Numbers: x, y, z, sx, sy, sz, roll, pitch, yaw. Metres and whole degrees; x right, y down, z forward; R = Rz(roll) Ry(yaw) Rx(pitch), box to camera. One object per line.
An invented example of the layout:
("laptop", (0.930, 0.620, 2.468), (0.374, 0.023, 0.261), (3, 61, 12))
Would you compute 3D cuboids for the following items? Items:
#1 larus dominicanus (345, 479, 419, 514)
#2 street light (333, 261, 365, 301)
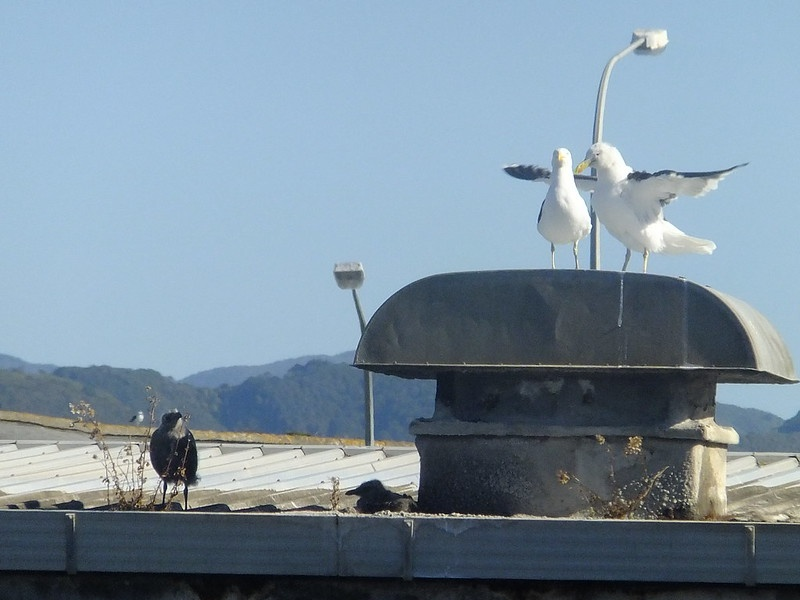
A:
("larus dominicanus", (-0.197, 2.727, 36.743), (0.431, 0.234, 0.580), (-5, 6, -35))
("street light", (-0.654, -0.244, 39.577), (0.435, 0.409, 0.576), (-3, -2, 1))
